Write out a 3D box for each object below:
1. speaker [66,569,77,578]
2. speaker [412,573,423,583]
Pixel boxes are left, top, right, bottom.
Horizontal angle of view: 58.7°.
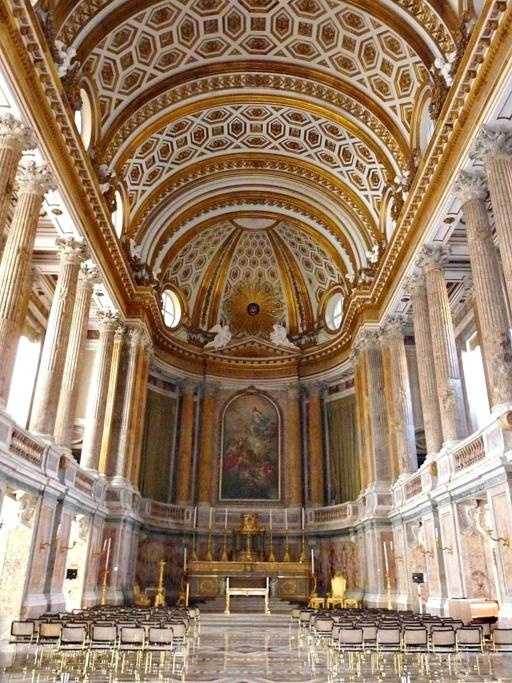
[{"bbox_3d":[-4.161,5.288,10.369,0.230,0.151,0.102,-15,-33,28],"label":"speaker"},{"bbox_3d":[3.665,5.431,10.450,0.167,0.161,0.246,0,-29,4],"label":"speaker"}]
